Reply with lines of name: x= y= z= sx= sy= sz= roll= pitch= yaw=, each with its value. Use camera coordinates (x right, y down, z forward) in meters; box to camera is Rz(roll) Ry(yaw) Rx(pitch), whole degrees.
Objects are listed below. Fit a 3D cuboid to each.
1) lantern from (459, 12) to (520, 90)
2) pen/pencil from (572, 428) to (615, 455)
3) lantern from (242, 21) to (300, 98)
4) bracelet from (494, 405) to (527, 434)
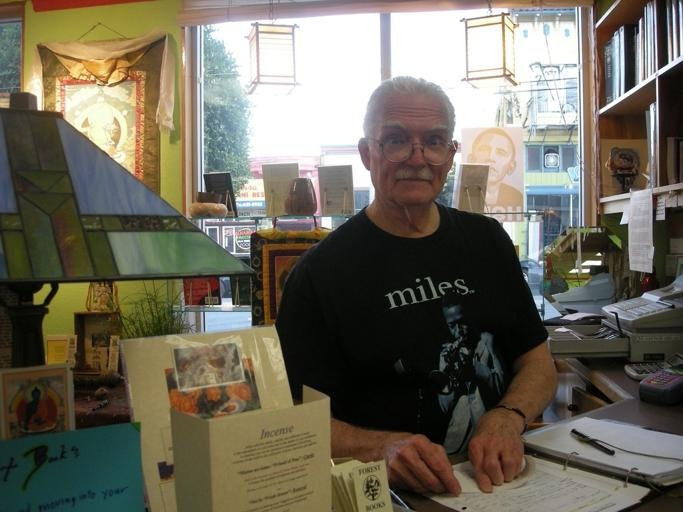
lantern: x=0.787 y=-1.076 z=3.412 sx=0.317 sy=0.501 sz=0.334 roll=0 pitch=0 yaw=20
pen/pencil: x=0.634 y=0.471 z=1.597 sx=0.112 sy=0.026 sz=0.029 roll=26 pitch=-21 yaw=44
lantern: x=-0.353 y=-1.055 z=3.402 sx=0.314 sy=0.479 sz=0.341 roll=0 pitch=6 yaw=-4
bracelet: x=0.455 y=0.432 z=1.709 sx=0.074 sy=0.058 sz=0.077 roll=-2 pitch=0 yaw=-20
